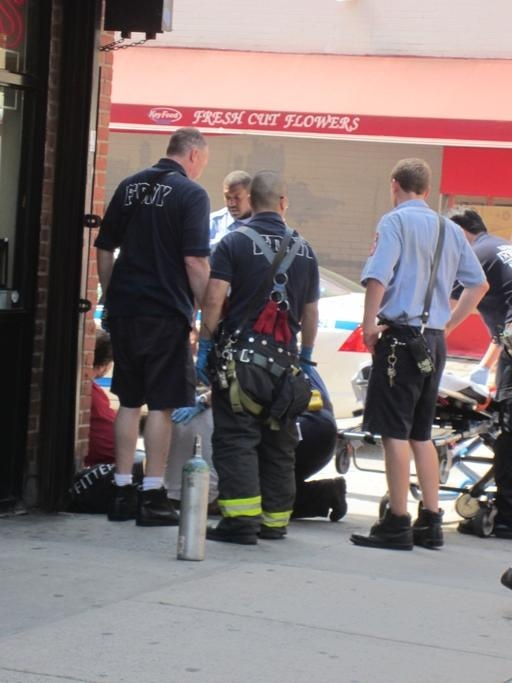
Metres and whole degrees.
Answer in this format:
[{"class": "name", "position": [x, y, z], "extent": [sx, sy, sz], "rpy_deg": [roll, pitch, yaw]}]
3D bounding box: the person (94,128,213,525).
[{"class": "person", "position": [-0.568, -0.112, 4.993], "extent": [0.660, 2.100, 0.399], "rpy_deg": [7, -2, 40]}]

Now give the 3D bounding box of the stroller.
[{"class": "stroller", "position": [1.069, 0.665, 6.462], "extent": [1.166, 1.091, 1.380], "rpy_deg": [2, 5, 30]}]

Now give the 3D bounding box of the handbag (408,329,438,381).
[{"class": "handbag", "position": [0.900, 0.051, 4.949], "extent": [0.161, 0.242, 0.082], "rpy_deg": [-39, 21, -29]}]

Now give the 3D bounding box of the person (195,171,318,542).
[{"class": "person", "position": [0.022, 0.067, 4.895], "extent": [0.690, 1.867, 0.449], "rpy_deg": [8, -1, -19]}]

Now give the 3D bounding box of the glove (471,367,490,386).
[{"class": "glove", "position": [1.606, 0.245, 6.624], "extent": [0.116, 0.125, 0.208], "rpy_deg": [-4, 2, 36]}]

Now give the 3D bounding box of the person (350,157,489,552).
[{"class": "person", "position": [0.859, 0.047, 5.141], "extent": [0.858, 1.982, 0.389], "rpy_deg": [9, -1, -42]}]

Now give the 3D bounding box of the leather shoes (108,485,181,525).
[{"class": "leather shoes", "position": [-0.626, 0.890, 4.961], "extent": [0.311, 0.124, 0.283], "rpy_deg": [1, -2, 25]}]

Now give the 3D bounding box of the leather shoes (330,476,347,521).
[{"class": "leather shoes", "position": [0.510, 0.980, 5.731], "extent": [0.121, 0.236, 0.203], "rpy_deg": [10, -8, -5]}]

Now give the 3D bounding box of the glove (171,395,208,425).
[{"class": "glove", "position": [-0.376, 0.400, 5.373], "extent": [0.246, 0.124, 0.058], "rpy_deg": [-16, -10, -3]}]

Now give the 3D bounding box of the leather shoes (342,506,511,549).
[{"class": "leather shoes", "position": [0.801, 1.020, 5.095], "extent": [0.562, 0.218, 0.261], "rpy_deg": [6, -1, -36]}]
